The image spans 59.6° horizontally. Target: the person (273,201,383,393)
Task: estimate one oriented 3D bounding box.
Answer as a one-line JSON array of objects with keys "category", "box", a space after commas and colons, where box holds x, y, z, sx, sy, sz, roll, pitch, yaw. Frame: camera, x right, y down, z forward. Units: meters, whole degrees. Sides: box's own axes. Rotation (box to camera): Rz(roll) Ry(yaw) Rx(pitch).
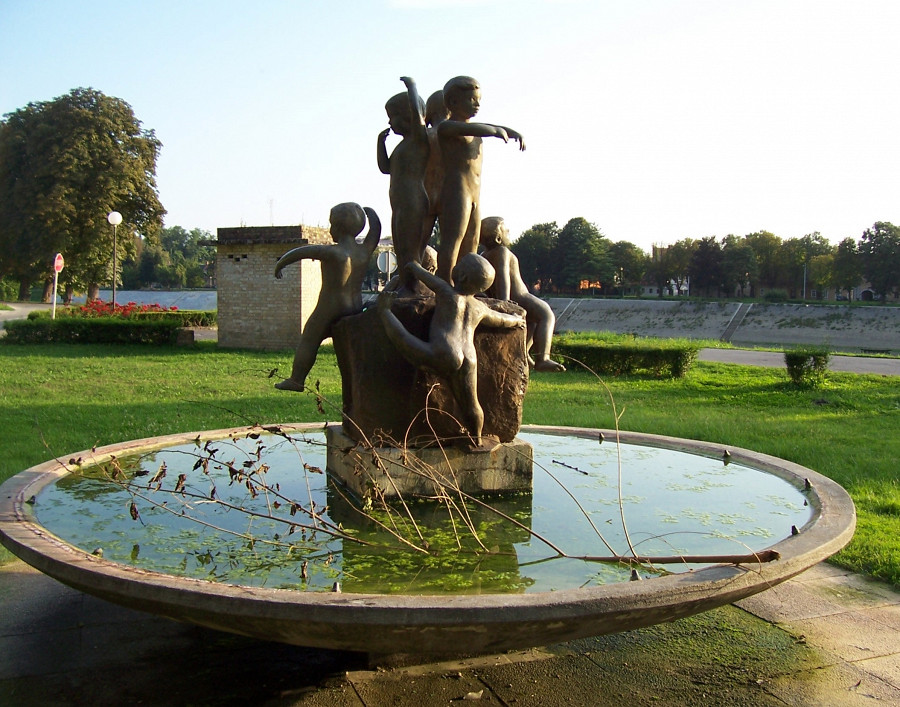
[{"category": "person", "box": [-0.893, -0.400, 5.785, 0.756, 1.393, 0.577, -1, 5, -7]}]
